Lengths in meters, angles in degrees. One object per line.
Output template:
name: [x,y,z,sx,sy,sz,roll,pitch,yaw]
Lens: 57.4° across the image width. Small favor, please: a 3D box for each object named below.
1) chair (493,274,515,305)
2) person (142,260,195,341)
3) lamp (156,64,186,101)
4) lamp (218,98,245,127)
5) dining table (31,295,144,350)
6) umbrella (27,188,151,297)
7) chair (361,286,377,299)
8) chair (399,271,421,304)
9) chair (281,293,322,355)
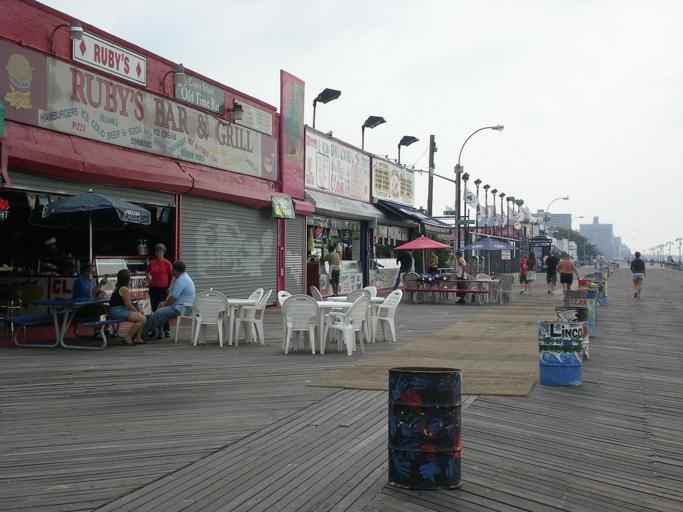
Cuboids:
chair: [6.674,1.404,25.683,0.778,1.520,1.028,-1,12,-2]
person: [-3.711,0.963,13.444,1.011,1.698,0.666,0,2,-8]
lamp: [-4.385,-4.727,16.732,0.604,0.902,0.744,1,2,21]
lamp: [-3.351,-4.466,19.289,0.642,0.720,0.503,0,2,17]
dining table: [-5.344,1.332,12.527,1.298,0.683,1.408,-1,-3,17]
umbrella: [-5.923,-0.324,14.509,2.213,1.699,2.254,0,4,-17]
chair: [0.682,0.898,15.416,0.241,0.427,0.291,1,-11,-6]
chair: [2.650,1.342,25.567,1.116,1.652,1.237,-2,2,14]
chair: [-0.791,1.296,12.296,0.754,1.159,1.323,0,2,-5]
